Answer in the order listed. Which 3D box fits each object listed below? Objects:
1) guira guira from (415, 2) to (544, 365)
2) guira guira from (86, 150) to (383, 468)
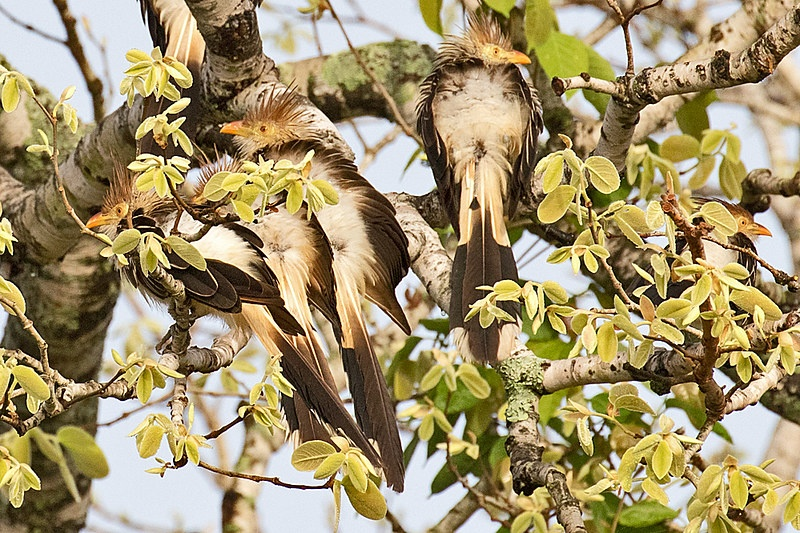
[{"bbox_3d":[0.362,-0.390,5.245,0.497,1.647,0.677,1,-16,4],"label":"guira guira"},{"bbox_3d":[-0.637,0.118,4.786,1.456,0.453,0.639,24,-62,26],"label":"guira guira"}]
